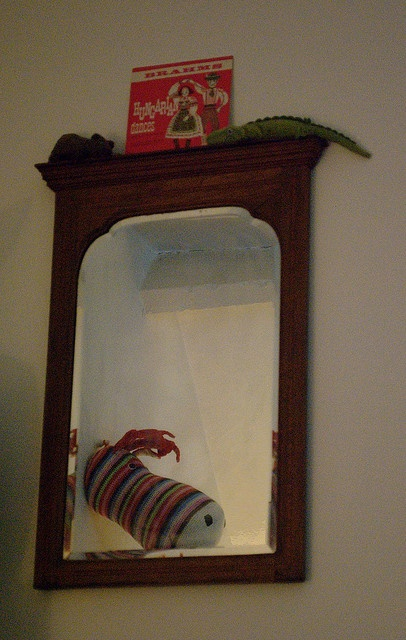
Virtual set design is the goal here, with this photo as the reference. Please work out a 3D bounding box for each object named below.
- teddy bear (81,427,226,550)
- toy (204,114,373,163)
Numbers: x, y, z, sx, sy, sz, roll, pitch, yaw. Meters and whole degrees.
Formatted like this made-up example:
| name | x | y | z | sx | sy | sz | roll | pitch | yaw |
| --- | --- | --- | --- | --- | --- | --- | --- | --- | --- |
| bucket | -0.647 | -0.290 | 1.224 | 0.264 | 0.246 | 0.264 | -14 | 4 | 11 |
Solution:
| name | x | y | z | sx | sy | sz | roll | pitch | yaw |
| --- | --- | --- | --- | --- | --- | --- | --- | --- | --- |
| teddy bear | -0.118 | 0.415 | 1.764 | 0.346 | 0.250 | 0.090 | -9 | -18 | 31 |
| toy | 0.215 | -0.488 | 1.909 | 0.479 | 0.086 | 0.051 | -3 | 31 | -21 |
